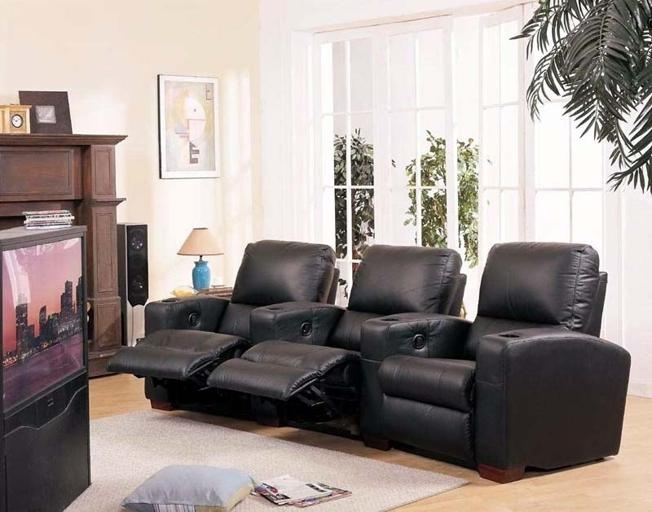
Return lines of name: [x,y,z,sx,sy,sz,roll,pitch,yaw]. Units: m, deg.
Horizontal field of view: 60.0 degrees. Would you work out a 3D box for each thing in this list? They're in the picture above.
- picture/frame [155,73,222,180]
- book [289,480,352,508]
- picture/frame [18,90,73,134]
picture/frame: [-1.513,-1.419,6.225,0.040,1.102,0.791,18,22,37]
book: [-0.063,1.142,2.707,0.290,0.025,0.246,0,0,-42]
picture/frame: [-2.476,-1.252,5.038,0.488,0.424,0.089,13,14,8]
